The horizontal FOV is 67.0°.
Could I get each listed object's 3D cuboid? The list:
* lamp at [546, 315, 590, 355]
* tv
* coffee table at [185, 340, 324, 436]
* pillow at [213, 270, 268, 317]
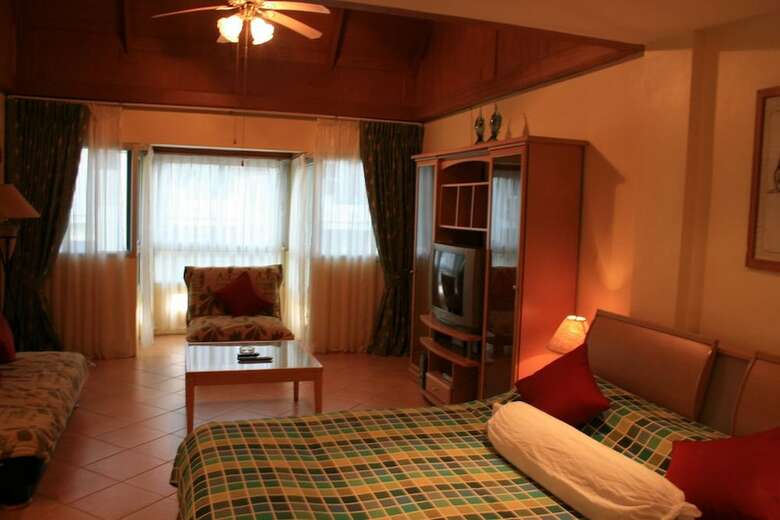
[{"bbox_3d":[1.397,0.581,4.595,0.312,0.223,0.280,9,10,-21],"label":"lamp"},{"bbox_3d":[0.636,0.252,5.559,0.495,0.810,0.874,-1,3,-18],"label":"tv"},{"bbox_3d":[-1.247,1.078,5.288,0.920,0.423,0.855,1,0,-11],"label":"coffee table"},{"bbox_3d":[-1.744,0.397,6.867,0.484,0.501,0.157,-39,-15,-12],"label":"pillow"}]
